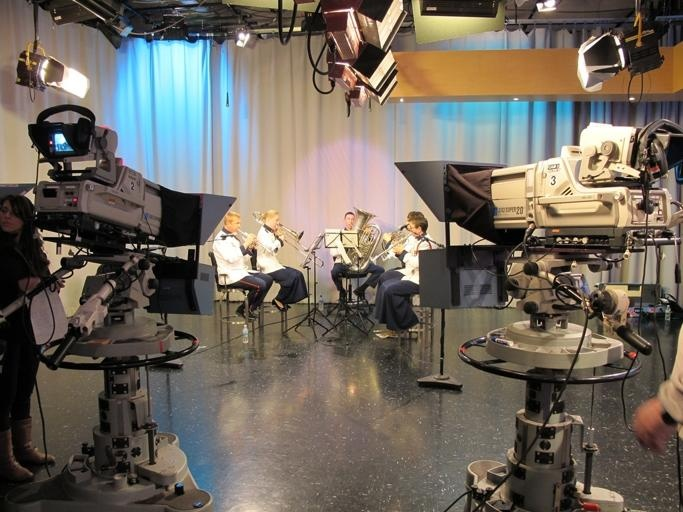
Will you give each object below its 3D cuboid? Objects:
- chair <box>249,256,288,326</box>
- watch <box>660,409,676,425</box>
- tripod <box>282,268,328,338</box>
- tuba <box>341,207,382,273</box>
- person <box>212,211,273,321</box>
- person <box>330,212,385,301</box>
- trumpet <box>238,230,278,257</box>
[{"bbox_3d":[-0.990,0.412,7.652,0.494,1.150,0.643,-3,1,5],"label":"chair"},{"bbox_3d":[1.443,0.705,2.833,0.051,0.053,0.055,0,14,8],"label":"watch"},{"bbox_3d":[-0.406,0.589,8.047,0.402,0.794,0.499,4,7,2],"label":"tripod"},{"bbox_3d":[0.257,-0.172,7.921,0.441,0.819,0.524,3,7,-2],"label":"tuba"},{"bbox_3d":[-1.196,0.122,7.671,0.673,1.301,1.329,-1,3,0],"label":"person"},{"bbox_3d":[0.200,-0.012,8.044,0.534,1.314,0.518,3,-1,-1],"label":"person"},{"bbox_3d":[-1.054,-0.156,8.216,0.519,0.239,0.159,28,5,13],"label":"trumpet"}]
